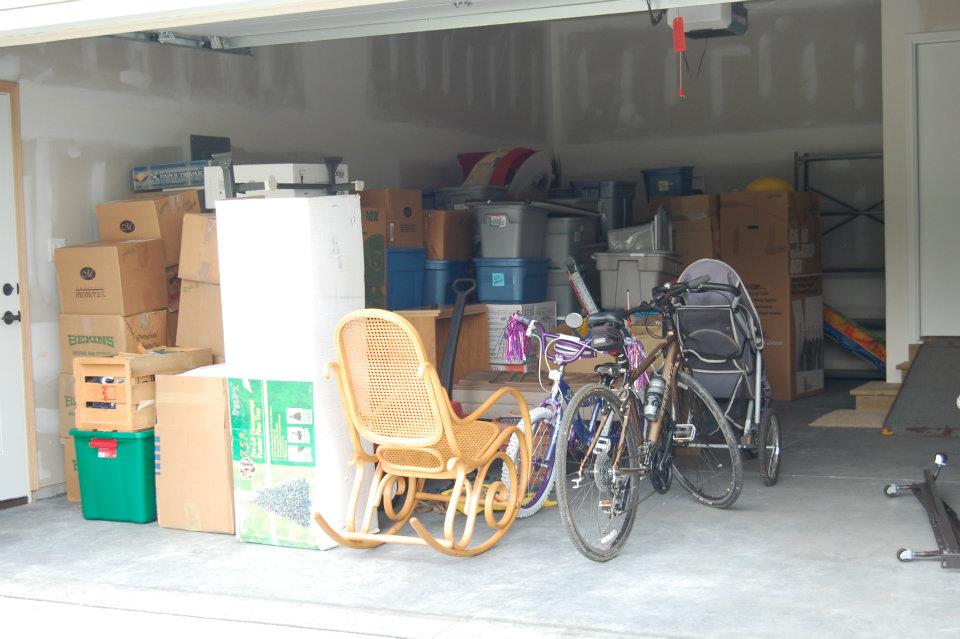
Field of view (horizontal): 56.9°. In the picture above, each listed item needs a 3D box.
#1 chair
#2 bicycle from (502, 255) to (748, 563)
[{"bbox_3d":[-0.353,0.692,5.775,1.032,1.646,1.231,4,11,35],"label":"chair"},{"bbox_3d":[1.123,0.633,6.336,1.218,1.544,2.510,-14,-2,36],"label":"bicycle"}]
